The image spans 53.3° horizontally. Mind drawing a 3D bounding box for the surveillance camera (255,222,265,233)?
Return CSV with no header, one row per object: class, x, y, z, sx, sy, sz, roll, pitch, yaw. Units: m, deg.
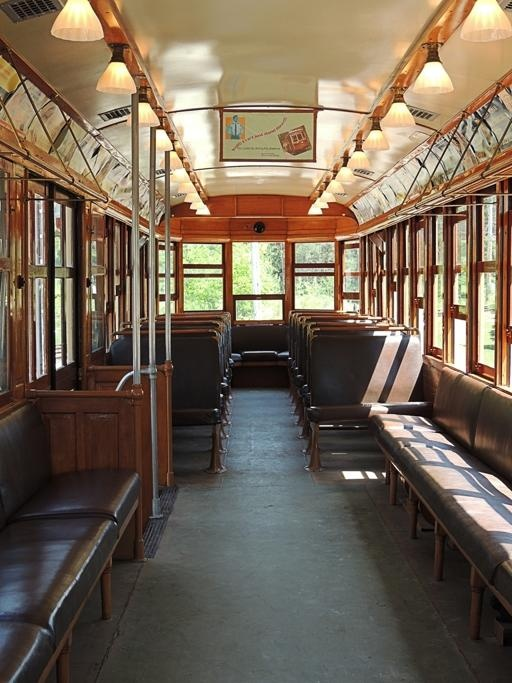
surveillance camera,0.086,-2.806,12.494,0.287,0.264,0.159,2,-5,-32
